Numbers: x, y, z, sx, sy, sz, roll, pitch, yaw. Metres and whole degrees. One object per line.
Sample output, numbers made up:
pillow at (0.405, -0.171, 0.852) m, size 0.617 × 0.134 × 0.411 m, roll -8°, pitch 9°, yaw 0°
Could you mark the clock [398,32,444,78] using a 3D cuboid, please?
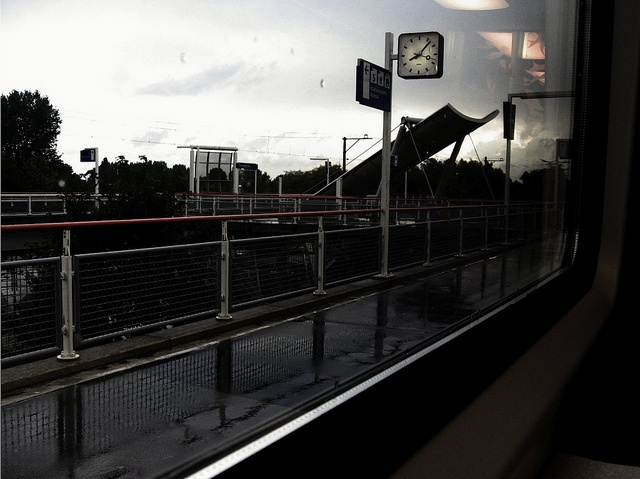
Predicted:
clock at (0.396, -0.724, 2.228) m, size 0.169 × 0.173 × 0.058 m, roll 1°, pitch 1°, yaw 24°
